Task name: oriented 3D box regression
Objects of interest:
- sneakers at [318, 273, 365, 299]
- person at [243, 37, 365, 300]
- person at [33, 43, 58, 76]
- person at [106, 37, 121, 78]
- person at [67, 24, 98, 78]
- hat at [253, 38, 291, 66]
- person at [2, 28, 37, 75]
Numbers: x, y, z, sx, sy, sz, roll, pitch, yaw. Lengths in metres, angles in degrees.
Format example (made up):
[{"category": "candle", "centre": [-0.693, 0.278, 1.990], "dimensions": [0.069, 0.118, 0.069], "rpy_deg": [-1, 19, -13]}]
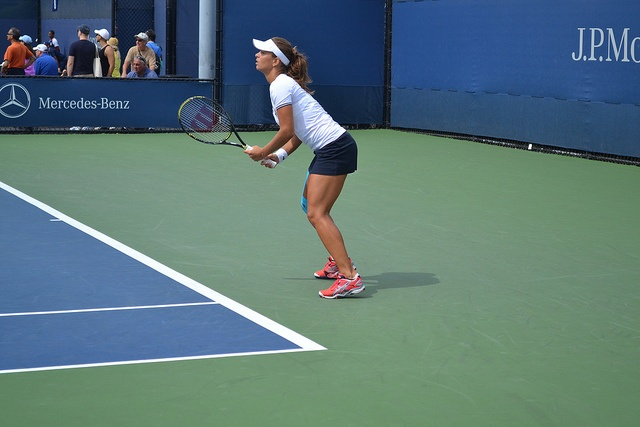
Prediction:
[{"category": "sneakers", "centre": [0.215, 0.681, 5.285], "dimensions": [0.461, 0.220, 0.181], "rpy_deg": [-7, 2, -7]}, {"category": "person", "centre": [-0.090, -0.434, 5.282], "dimensions": [1.149, 2.322, 0.661], "rpy_deg": [5, 14, 15]}, {"category": "person", "centre": [-7.533, -4.236, 15.548], "dimensions": [0.552, 0.779, 3.089], "rpy_deg": [-6, 16, -25]}, {"category": "person", "centre": [-5.773, -4.440, 15.964], "dimensions": [0.297, 1.080, 2.111], "rpy_deg": [-4, 16, -19]}, {"category": "person", "centre": [-6.500, -4.436, 15.418], "dimensions": [0.732, 1.321, 1.165], "rpy_deg": [-3, 15, -15]}, {"category": "hat", "centre": [-0.442, -1.493, 5.239], "dimensions": [0.312, 0.230, 0.230], "rpy_deg": [-1, 14, -7]}, {"category": "person", "centre": [-8.187, -4.358, 15.206], "dimensions": [0.622, 1.202, 1.050], "rpy_deg": [-1, 14, -8]}]
